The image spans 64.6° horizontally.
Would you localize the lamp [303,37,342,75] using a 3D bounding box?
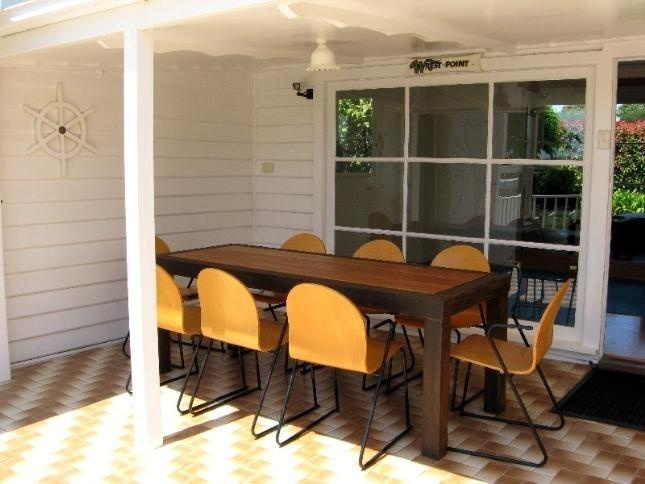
[{"bbox_3d":[0.043,-1.524,4.229,0.323,0.346,0.329,0,9,5],"label":"lamp"}]
